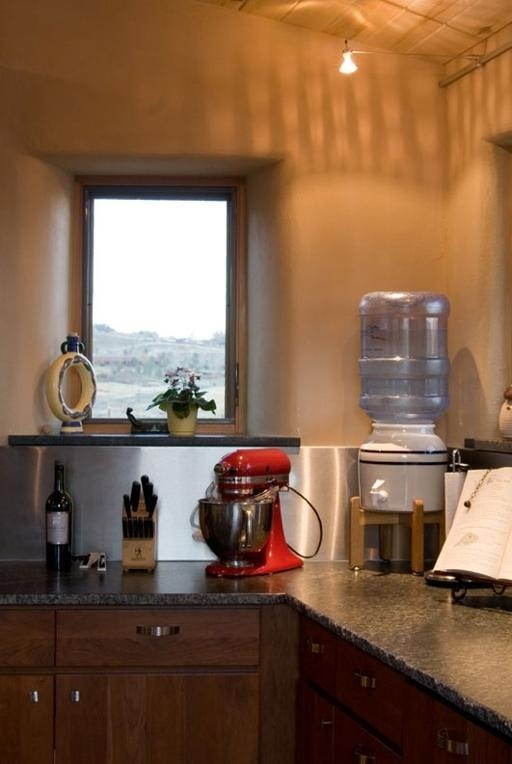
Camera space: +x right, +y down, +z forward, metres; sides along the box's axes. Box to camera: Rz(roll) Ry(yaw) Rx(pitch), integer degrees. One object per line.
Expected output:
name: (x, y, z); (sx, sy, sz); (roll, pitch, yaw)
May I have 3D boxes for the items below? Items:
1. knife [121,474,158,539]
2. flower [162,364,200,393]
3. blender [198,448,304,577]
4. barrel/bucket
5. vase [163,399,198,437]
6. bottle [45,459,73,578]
knife: (-0.356, 0.375, 2.259); (0.107, 0.184, 0.089); (-1, 1, -3)
flower: (-0.261, -0.008, 2.625); (0.105, 0.086, 0.098); (2, -6, 5)
blender: (-0.007, 0.385, 2.212); (0.325, 0.370, 0.206); (-1, 1, -9)
barrel/bucket: (0.481, -0.085, 2.406); (0.284, 0.413, 0.186); (-1, 1, 15)
vase: (-0.252, 0.132, 2.489); (0.105, 0.083, 0.094); (2, -2, -7)
bottle: (-0.595, 0.406, 2.239); (0.074, 0.307, 0.089); (-1, 1, 7)
